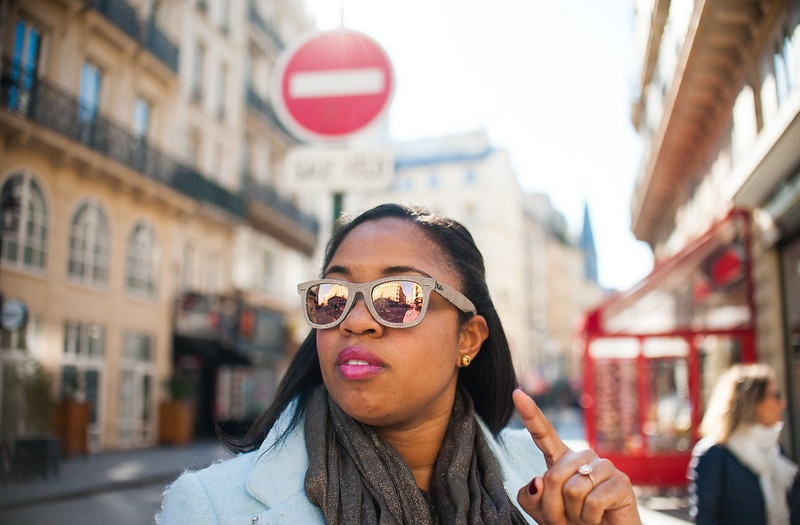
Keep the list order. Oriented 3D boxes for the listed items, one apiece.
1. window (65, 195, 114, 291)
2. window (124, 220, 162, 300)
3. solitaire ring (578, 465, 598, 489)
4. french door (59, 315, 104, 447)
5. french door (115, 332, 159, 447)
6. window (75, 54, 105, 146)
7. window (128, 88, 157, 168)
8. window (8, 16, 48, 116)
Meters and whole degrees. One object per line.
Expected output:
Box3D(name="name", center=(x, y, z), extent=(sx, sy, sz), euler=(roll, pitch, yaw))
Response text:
Box3D(name="window", center=(-1.432, -0.087, 3.398), extent=(0.170, 0.345, 0.127), euler=(5, -18, -27))
Box3D(name="window", center=(-1.246, -0.058, 3.530), extent=(0.147, 0.036, 0.364), euler=(12, -49, -18))
Box3D(name="solitaire ring", center=(0.798, 0.920, 3.157), extent=(0.039, 0.087, 0.061), euler=(-30, 5, -37))
Box3D(name="french door", center=(-1.460, 0.583, 3.371), extent=(0.190, 0.668, 0.023), euler=(3, 25, -20))
Box3D(name="french door", center=(-1.231, 0.600, 3.430), extent=(0.179, 0.558, 0.025), euler=(2, 7, -11))
Box3D(name="window", center=(-1.455, -0.722, 3.411), extent=(0.022, 0.421, 0.097), euler=(3, -2, 19))
Box3D(name="window", center=(-1.243, -0.618, 3.534), extent=(0.081, 0.361, 0.058), euler=(6, -18, -30))
Box3D(name="window", center=(-1.684, -0.875, 3.302), extent=(0.113, 0.416, 0.097), euler=(6, -18, -29))
